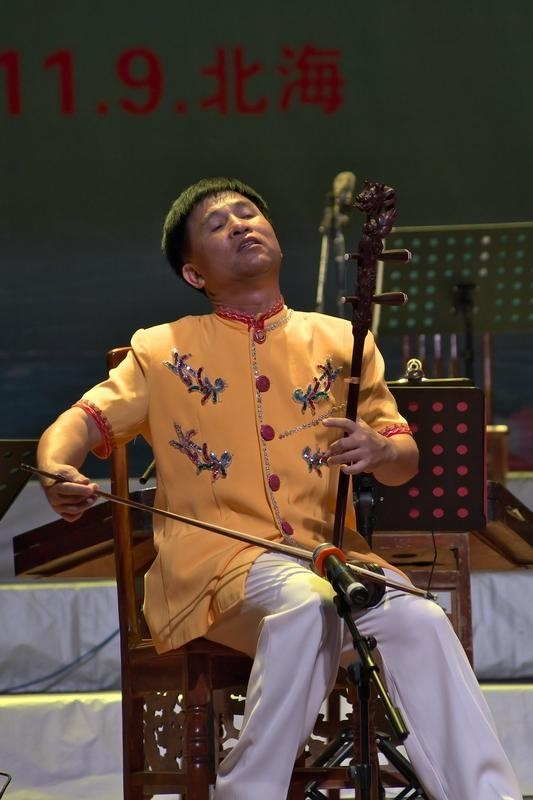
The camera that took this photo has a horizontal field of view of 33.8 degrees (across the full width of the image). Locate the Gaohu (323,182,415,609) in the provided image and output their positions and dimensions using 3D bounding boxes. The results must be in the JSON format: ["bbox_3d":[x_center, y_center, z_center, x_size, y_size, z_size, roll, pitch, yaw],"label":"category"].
[{"bbox_3d":[0.156,-0.047,1.510,0.173,0.629,0.133,-4,13,-11],"label":"Gaohu"}]

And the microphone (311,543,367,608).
[{"bbox_3d":[0.095,0.225,1.137,0.041,0.038,0.102,-23,19,-8],"label":"microphone"}]
